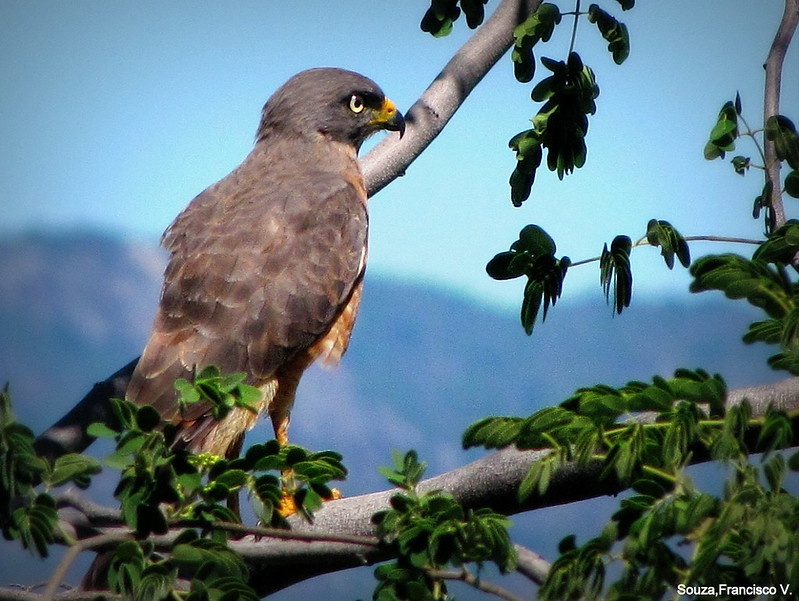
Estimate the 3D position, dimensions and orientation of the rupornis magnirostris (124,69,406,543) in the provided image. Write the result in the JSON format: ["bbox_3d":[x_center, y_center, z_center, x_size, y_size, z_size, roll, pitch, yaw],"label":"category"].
[{"bbox_3d":[-0.550,-0.289,7.043,0.719,1.886,1.226,-2,-16,29],"label":"rupornis magnirostris"}]
